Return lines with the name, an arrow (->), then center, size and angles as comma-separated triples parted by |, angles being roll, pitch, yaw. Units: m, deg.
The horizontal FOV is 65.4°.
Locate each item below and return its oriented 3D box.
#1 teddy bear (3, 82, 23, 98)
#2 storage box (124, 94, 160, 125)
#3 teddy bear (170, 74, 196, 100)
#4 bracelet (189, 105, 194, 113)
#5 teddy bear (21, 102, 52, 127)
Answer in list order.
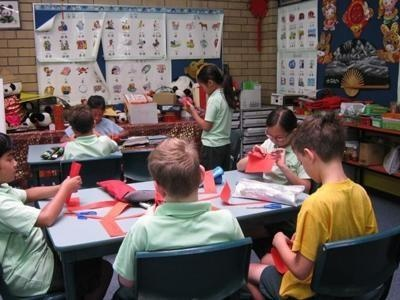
teddy bear -> -2.407, -0.776, 4.038 | 0.133, 0.182, 0.269 | -2, 12, 1
storage box -> -0.825, -0.571, 4.420 | 0.350, 0.295, 0.514 | -3, 23, -15
teddy bear -> -0.276, -1.028, 5.063 | 0.312, 0.458, 0.189 | -4, 25, -15
bracelet -> -0.090, -0.440, 3.393 | 0.047, 0.082, 0.048 | 4, 10, 29
teddy bear -> -2.140, -0.454, 4.088 | 0.280, 0.425, 0.197 | 4, 15, 8
